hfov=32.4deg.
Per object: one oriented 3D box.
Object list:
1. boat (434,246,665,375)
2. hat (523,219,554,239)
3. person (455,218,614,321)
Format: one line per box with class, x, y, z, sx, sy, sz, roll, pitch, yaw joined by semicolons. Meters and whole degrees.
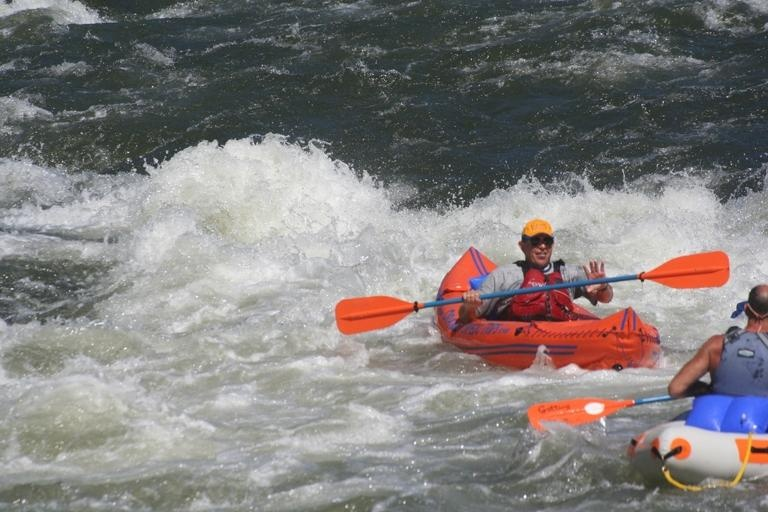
boat;1.974;0.707;17.199;2.383;0.917;3.131;-14;24;-40
hat;1.938;-0.332;16.732;0.281;0.158;0.338;3;-26;-2
person;1.850;0.242;17.195;1.532;0.832;1.663;8;5;-10
